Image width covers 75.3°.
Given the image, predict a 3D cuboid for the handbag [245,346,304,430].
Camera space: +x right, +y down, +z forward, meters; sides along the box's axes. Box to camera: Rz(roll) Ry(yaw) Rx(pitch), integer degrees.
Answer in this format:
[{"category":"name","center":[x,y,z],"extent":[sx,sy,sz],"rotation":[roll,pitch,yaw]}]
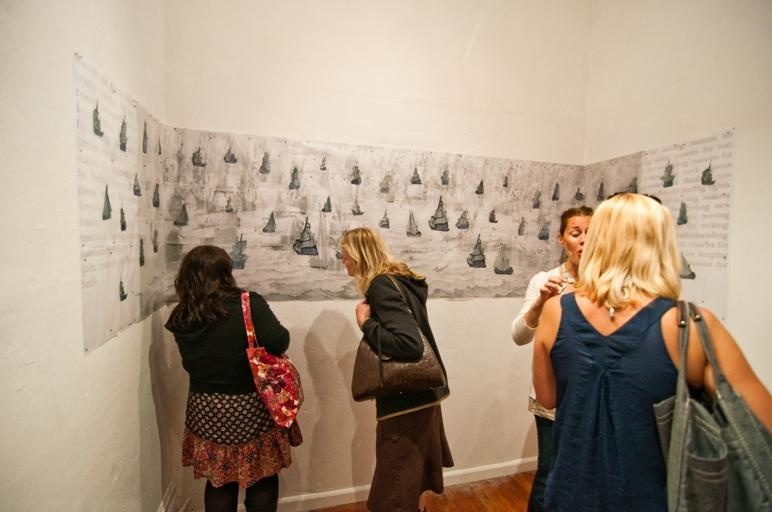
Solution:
[{"category":"handbag","center":[-0.543,0.645,2.496],"extent":[0.265,0.409,0.096],"rotation":[-14,9,-34]}]

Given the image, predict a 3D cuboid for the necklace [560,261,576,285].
[{"category":"necklace","center":[1.003,0.110,2.767],"extent":[0.068,0.132,0.175],"rotation":[-5,28,18]}]

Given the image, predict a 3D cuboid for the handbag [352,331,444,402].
[{"category":"handbag","center":[-0.025,0.513,2.536],"extent":[0.494,0.389,0.216],"rotation":[-19,35,28]}]
